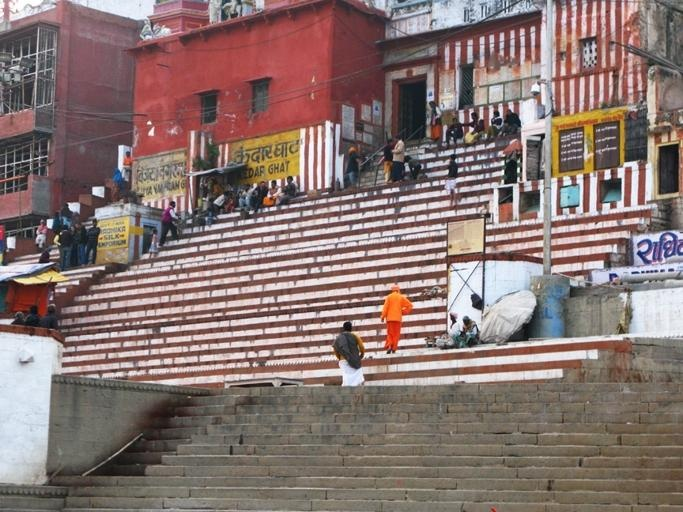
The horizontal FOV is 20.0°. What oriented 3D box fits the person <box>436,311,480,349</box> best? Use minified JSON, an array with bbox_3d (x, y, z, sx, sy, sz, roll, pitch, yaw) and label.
[{"bbox_3d":[2.289,1.501,39.072,0.879,0.811,0.653,-18,-29,36],"label":"person"}]
